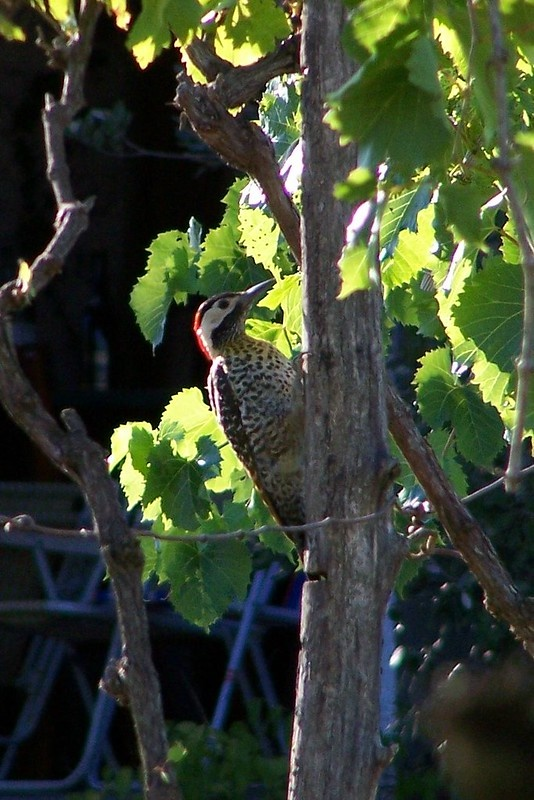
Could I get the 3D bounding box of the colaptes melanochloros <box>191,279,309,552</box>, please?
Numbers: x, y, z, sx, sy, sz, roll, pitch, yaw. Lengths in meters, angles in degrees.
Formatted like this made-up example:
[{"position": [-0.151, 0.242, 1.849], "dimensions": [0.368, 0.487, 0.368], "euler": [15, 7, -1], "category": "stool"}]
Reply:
[{"position": [-0.065, 0.013, 7.660], "dimensions": [0.355, 0.799, 0.576], "euler": [0, -21, -2], "category": "colaptes melanochloros"}]
